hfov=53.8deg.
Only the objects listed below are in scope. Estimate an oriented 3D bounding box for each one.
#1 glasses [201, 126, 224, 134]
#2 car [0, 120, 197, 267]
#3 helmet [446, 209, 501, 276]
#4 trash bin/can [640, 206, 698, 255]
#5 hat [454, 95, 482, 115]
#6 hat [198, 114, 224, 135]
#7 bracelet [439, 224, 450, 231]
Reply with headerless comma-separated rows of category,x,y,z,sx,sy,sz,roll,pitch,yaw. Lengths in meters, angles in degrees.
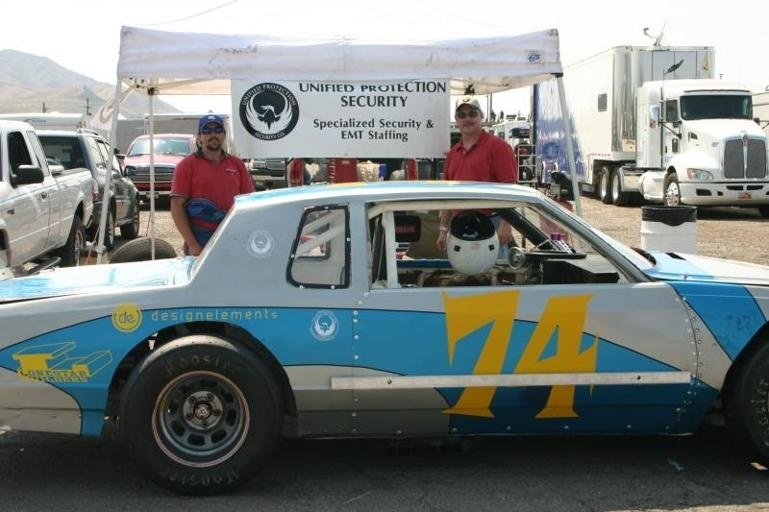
glasses,-1.813,-1.329,7.958,0.249,0.082,0.085,-7,14,-23
car,-5.451,-1.182,13.595,2.226,2.073,4.104,1,11,11
helmet,0.732,-0.104,6.334,0.442,0.463,0.612,-1,17,1
trash bin/can,3.606,-0.348,9.766,0.674,0.804,0.716,0,2,-1
hat,0.903,-1.639,8.177,0.260,0.177,0.356,1,13,6
hat,-1.844,-1.401,8.072,0.259,0.210,0.441,3,-7,-12
bracelet,0.573,-0.276,7.307,0.082,0.062,0.113,0,3,3
